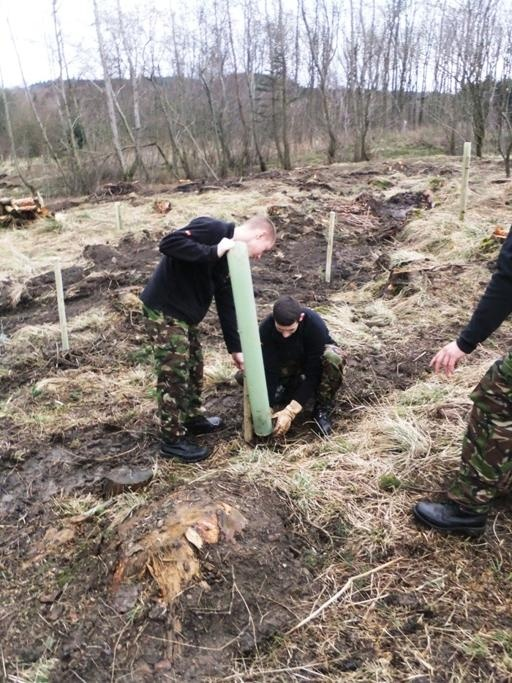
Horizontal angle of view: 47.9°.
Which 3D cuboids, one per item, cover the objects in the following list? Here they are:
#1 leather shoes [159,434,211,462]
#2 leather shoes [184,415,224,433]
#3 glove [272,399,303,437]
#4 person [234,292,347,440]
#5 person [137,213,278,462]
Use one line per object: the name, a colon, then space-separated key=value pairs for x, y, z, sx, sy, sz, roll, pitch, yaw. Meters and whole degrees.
leather shoes: x=-0.413 y=0.624 z=3.379 sx=0.286 sy=0.115 sz=0.124 roll=3 pitch=9 yaw=-1
leather shoes: x=-0.320 y=0.517 z=3.754 sx=0.271 sy=0.102 sz=0.094 roll=-8 pitch=28 yaw=-14
glove: x=0.191 y=0.490 z=3.558 sx=0.173 sy=0.066 sz=0.232 roll=32 pitch=59 yaw=25
person: x=0.227 y=0.076 z=3.663 sx=0.701 sy=0.858 sz=0.666 roll=5 pitch=35 yaw=16
person: x=-0.281 y=0.006 z=3.273 sx=0.714 sy=1.406 sz=0.680 roll=13 pitch=29 yaw=42
